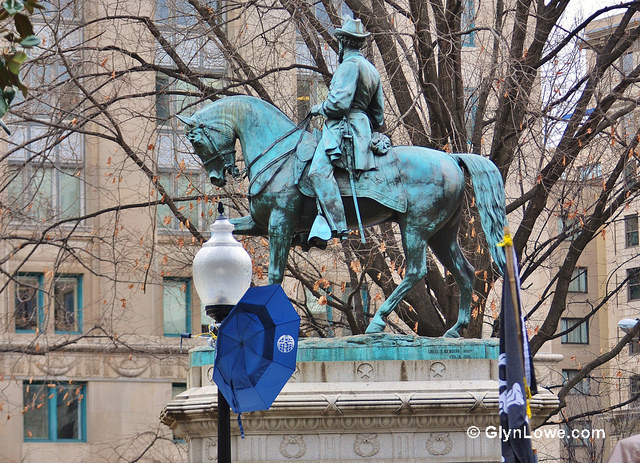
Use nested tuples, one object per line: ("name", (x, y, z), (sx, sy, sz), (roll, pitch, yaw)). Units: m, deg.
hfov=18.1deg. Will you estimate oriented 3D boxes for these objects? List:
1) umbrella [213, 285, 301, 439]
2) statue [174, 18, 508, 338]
("umbrella", (-1.399, 2.880, 44.222), (1.956, 3.187, 1.364), (-4, -15, -4))
("statue", (0.570, -1.195, 47.771), (7.934, 7.742, 2.752), (1, -5, 0))
